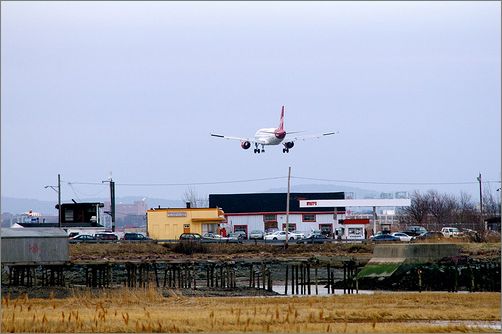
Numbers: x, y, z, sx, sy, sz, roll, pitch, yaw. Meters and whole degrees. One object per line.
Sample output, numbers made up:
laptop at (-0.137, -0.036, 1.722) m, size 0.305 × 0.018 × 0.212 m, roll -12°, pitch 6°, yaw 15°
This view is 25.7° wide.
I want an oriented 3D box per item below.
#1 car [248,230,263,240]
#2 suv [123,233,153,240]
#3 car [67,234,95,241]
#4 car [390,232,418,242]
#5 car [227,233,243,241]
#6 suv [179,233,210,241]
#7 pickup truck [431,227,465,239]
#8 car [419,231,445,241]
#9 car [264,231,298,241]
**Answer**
car at (0.670, 8.072, 130.617) m, size 1.705 × 1.352 × 4.603 m, roll -1°, pitch -7°, yaw 0°
suv at (-13.593, 8.032, 127.309) m, size 3.921 × 0.977 × 1.843 m, roll -7°, pitch -9°, yaw 42°
car at (-19.494, 8.193, 126.191) m, size 2.071 × 0.689 × 1.054 m, roll -1°, pitch 3°, yaw -8°
car at (17.110, 7.823, 121.951) m, size 2.059 × 0.720 × 1.004 m, roll -2°, pitch 7°, yaw -9°
car at (-1.843, 8.086, 126.484) m, size 1.619 × 1.037 × 5.115 m, roll -2°, pitch -7°, yaw 2°
suv at (-6.611, 7.909, 124.022) m, size 2.476 × 0.843 × 1.233 m, roll -1°, pitch 1°, yaw 7°
pickup truck at (21.823, 7.383, 119.710) m, size 2.697 × 1.181 × 1.574 m, roll -2°, pitch 2°, yaw 1°
car at (19.852, 7.765, 119.531) m, size 1.949 × 0.612 × 1.300 m, roll -4°, pitch 4°, yaw -22°
car at (3.424, 8.271, 127.092) m, size 3.466 × 0.988 × 1.535 m, roll -3°, pitch 3°, yaw -6°
